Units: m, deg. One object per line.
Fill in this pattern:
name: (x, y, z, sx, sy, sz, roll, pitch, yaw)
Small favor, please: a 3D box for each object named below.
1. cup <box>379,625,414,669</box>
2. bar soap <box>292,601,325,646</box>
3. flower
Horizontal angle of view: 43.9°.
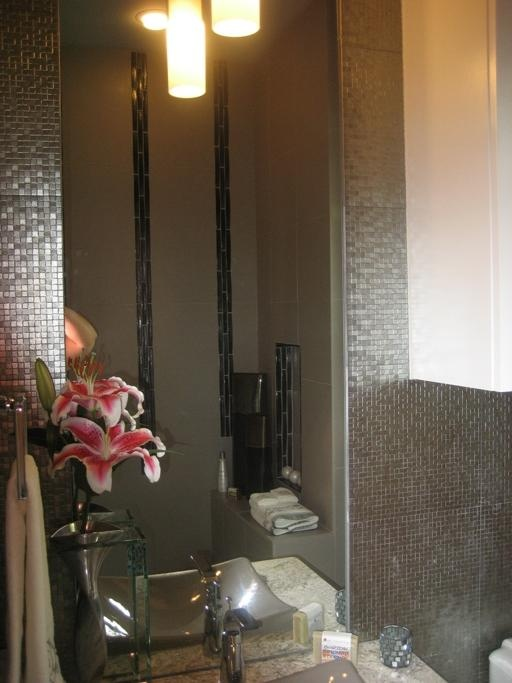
cup: (0.293, 0.633, 1.328, 0.055, 0.082, 0.070, -1, -3, 0)
bar soap: (0.107, 0.596, 1.348, 0.029, 0.083, 0.071, -7, -10, 38)
flower: (-0.287, 0.228, 1.171, 0.192, 0.404, 0.221, -1, 3, -20)
